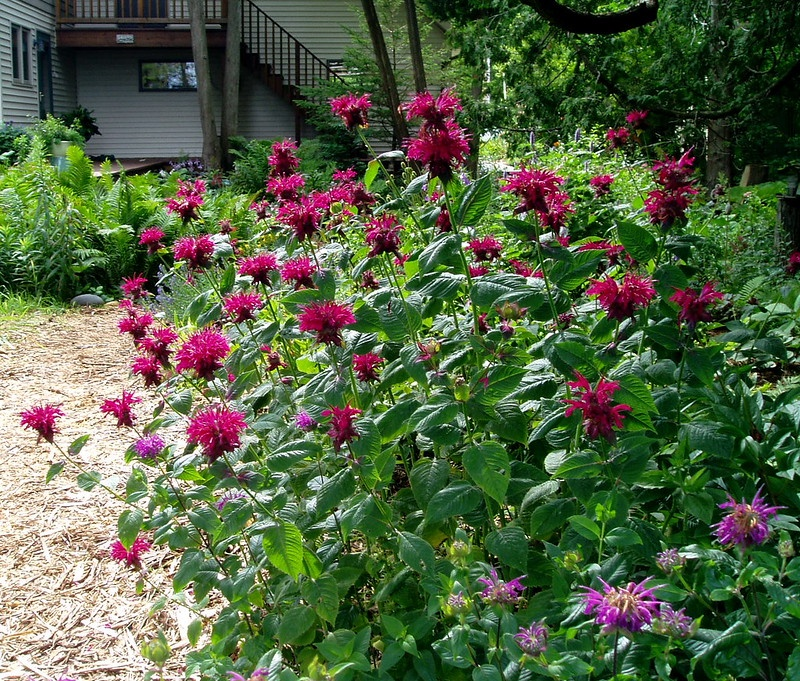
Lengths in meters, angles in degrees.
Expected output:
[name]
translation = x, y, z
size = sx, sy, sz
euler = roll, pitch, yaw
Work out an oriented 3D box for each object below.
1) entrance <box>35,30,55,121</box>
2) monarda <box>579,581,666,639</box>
[entrance]
translation = -7.840, -6.112, 17.801
size = 0.093, 1.174, 0.617
euler = -17, 33, -40
[monarda]
translation = 0.411, 0.468, 1.444
size = 0.147, 0.077, 0.150
euler = -4, 2, -9
